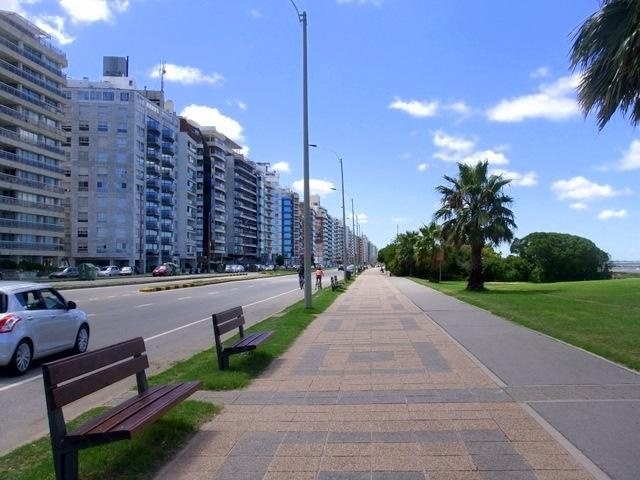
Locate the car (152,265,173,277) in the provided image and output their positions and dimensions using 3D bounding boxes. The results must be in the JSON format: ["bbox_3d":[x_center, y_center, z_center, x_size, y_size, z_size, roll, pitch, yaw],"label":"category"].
[{"bbox_3d":[-22.355,4.400,69.354,2.486,1.312,1.487,4,-6,-34],"label":"car"}]
